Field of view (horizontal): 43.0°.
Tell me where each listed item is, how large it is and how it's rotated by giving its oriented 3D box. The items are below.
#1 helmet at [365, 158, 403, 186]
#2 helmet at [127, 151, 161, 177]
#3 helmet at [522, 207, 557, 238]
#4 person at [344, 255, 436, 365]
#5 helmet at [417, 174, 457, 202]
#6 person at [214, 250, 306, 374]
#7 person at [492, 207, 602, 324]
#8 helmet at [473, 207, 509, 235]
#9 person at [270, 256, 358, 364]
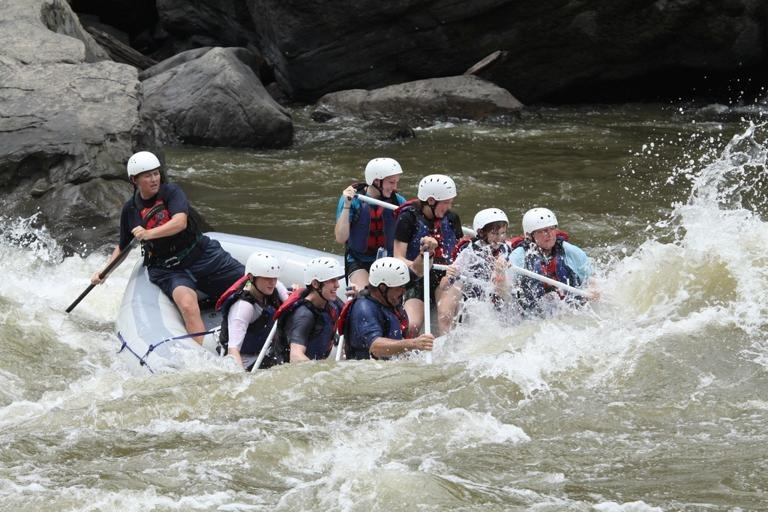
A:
[{"bbox_3d":[-0.038,-1.104,12.534,0.434,0.314,0.331,-33,-7,29],"label":"helmet"},{"bbox_3d":[-3.063,-1.140,12.158,0.328,0.299,0.410,-9,-20,-44],"label":"helmet"},{"bbox_3d":[1.799,-0.417,11.559,0.315,0.295,0.383,-11,-23,-26],"label":"helmet"},{"bbox_3d":[0.014,0.611,10.750,0.738,1.129,0.764,-8,14,-26],"label":"person"},{"bbox_3d":[0.657,-0.825,11.900,0.441,0.222,0.312,2,22,12],"label":"helmet"},{"bbox_3d":[-1.491,0.708,11.424,0.563,1.206,0.880,32,44,10],"label":"person"},{"bbox_3d":[1.906,0.071,11.502,1.141,1.251,0.474,0,13,5],"label":"person"},{"bbox_3d":[1.270,-0.452,11.756,0.320,0.350,0.267,-6,48,-20],"label":"helmet"},{"bbox_3d":[-0.788,0.663,11.174,0.623,1.129,0.778,12,30,0],"label":"person"}]
